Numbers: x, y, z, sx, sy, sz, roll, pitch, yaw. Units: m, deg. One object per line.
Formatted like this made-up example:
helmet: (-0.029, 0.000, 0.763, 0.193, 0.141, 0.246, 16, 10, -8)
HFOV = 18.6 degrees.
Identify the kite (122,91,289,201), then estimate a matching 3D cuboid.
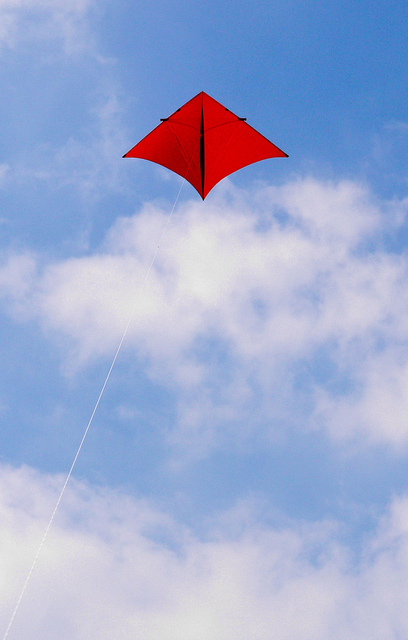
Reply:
kite: (0.028, -4.317, 30.520, 2.962, 0.924, 2.593, -28, -56, 33)
